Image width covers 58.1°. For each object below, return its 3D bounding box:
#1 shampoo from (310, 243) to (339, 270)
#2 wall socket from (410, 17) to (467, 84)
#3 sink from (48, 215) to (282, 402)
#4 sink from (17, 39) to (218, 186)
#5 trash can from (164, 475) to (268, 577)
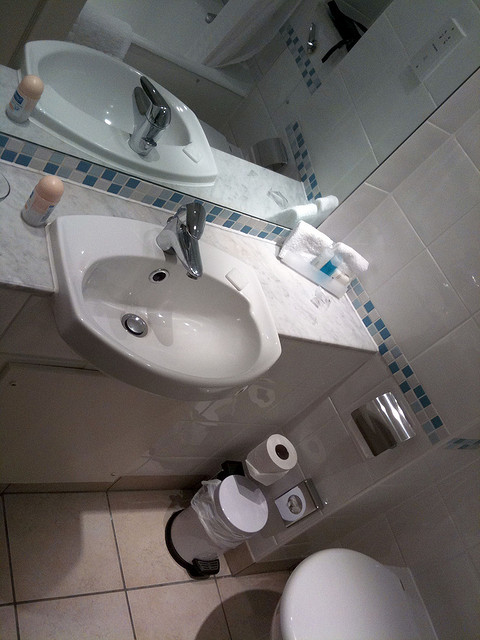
[{"bbox_3d":[0.265,-0.195,1.363,0.022,0.093,0.053,39,21,-21],"label":"shampoo"},{"bbox_3d":[0.576,-0.778,1.240,0.023,0.217,0.120,8,51,-31],"label":"wall socket"},{"bbox_3d":[-0.155,-0.015,0.857,0.462,0.180,0.360,4,72,-37],"label":"sink"},{"bbox_3d":[-0.250,-0.467,1.040,0.530,0.204,0.145,19,32,-46],"label":"sink"},{"bbox_3d":[-0.079,0.654,1.532,0.313,0.340,0.351,30,34,-26],"label":"trash can"}]
